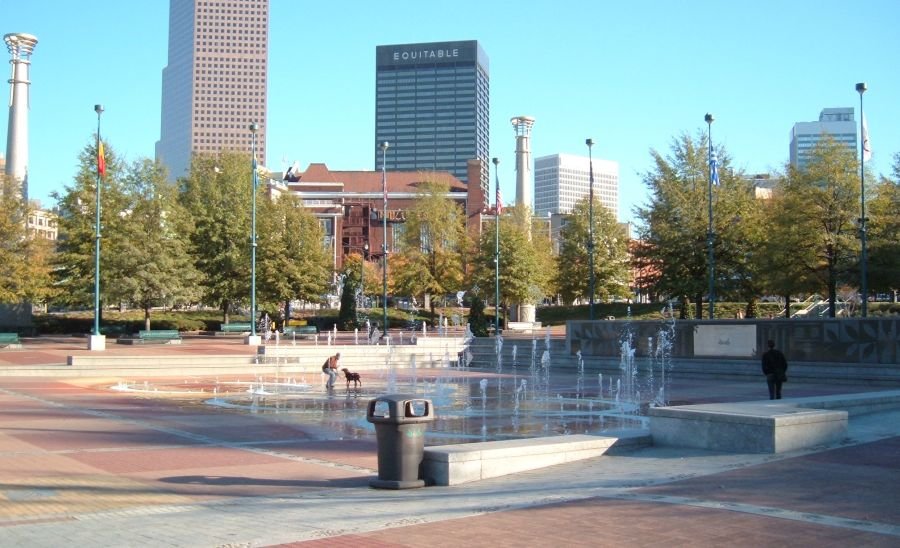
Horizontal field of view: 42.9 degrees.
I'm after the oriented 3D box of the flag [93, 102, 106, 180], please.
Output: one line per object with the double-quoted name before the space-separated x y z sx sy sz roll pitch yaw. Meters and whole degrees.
"flag" -20.174 -7.510 66.290 0.848 4.332 0.686 -2 -1 -5
